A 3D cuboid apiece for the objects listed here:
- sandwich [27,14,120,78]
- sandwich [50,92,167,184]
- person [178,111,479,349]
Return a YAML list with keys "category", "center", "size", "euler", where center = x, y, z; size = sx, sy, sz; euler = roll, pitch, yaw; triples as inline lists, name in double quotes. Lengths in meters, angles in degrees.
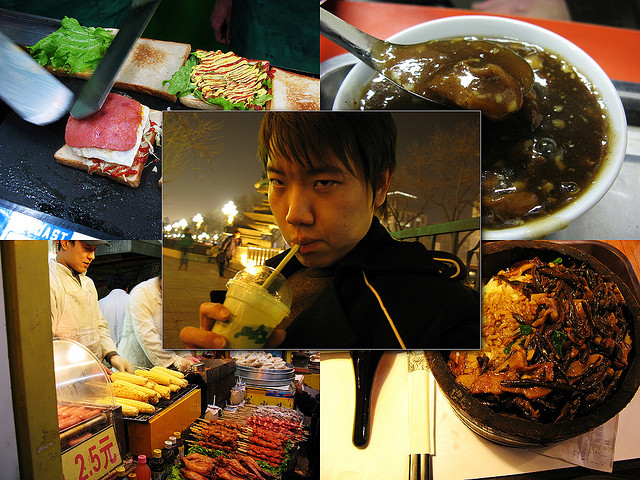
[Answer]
- category: "sandwich"
  center: [-1.131, -0.929, 2.265]
  size: [0.321, 0.119, 0.398]
  euler: [13, 52, -35]
- category: "sandwich"
  center: [-1.000, -0.523, 2.286]
  size: [0.528, 0.113, 0.558]
  euler: [-9, 67, -16]
- category: "person"
  center: [0.027, -0.055, 2.519]
  size: [1.547, 0.790, 1.256]
  euler: [6, 96, 35]
